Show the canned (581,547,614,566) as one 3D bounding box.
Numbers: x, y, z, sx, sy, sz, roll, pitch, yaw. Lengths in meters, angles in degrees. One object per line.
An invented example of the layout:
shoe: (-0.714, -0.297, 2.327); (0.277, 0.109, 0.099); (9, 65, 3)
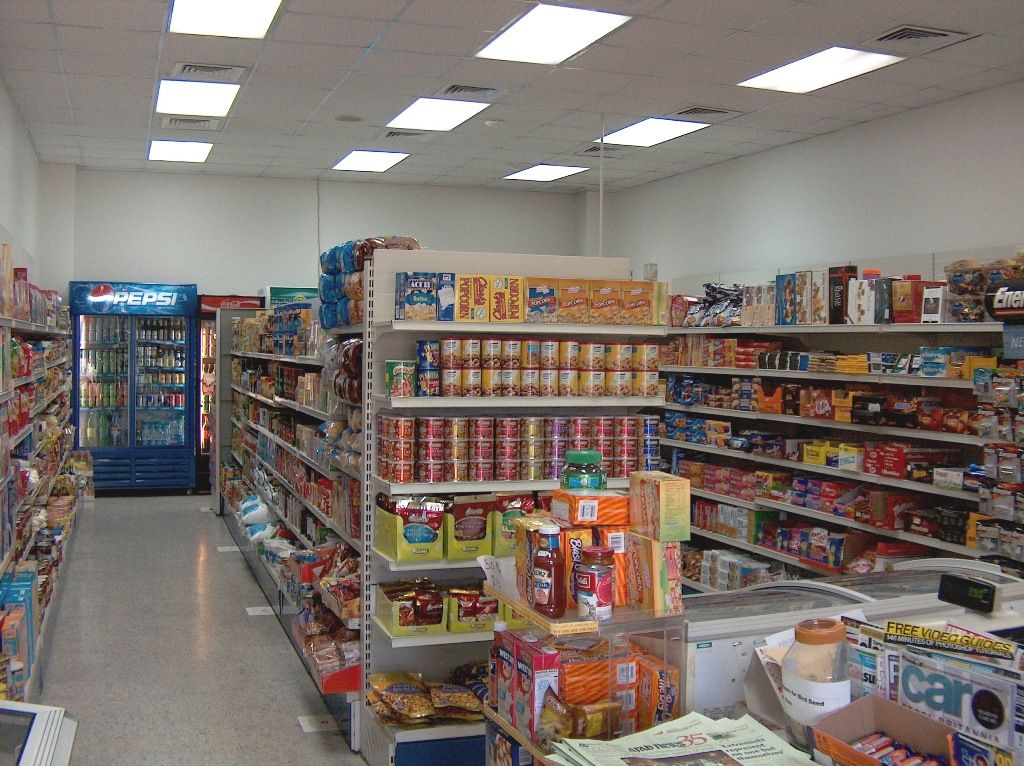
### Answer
canned: (0.241, 0.490, 2.047); (0.090, 0.048, 0.092); (2, 2, 5)

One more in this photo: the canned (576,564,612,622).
canned: (0.218, 0.593, 2.048); (0.128, 0.124, 0.126); (-4, -13, 37)

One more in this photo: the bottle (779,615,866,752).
bottle: (0.761, 0.734, 1.726); (0.206, 0.272, 0.200); (3, -14, 1)

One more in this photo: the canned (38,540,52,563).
canned: (-3.781, 1.366, 5.828); (0.113, 0.124, 0.139); (1, -13, -16)

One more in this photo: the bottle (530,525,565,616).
bottle: (0.117, 0.526, 2.055); (0.108, 0.245, 0.115); (2, 2, 0)
